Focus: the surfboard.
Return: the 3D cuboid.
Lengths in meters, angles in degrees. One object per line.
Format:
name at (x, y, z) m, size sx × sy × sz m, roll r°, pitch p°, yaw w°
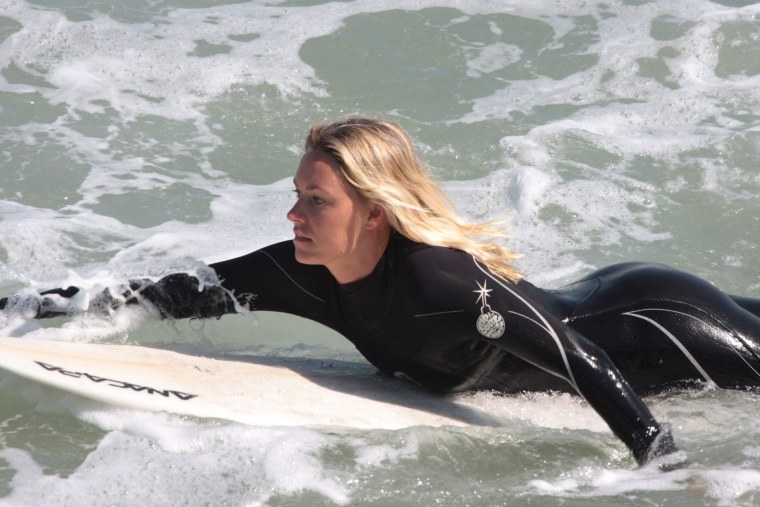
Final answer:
surfboard at (-1.055, 0.942, 7.151) m, size 5.334 × 0.304 × 0.928 m, roll 5°, pitch 4°, yaw -5°
